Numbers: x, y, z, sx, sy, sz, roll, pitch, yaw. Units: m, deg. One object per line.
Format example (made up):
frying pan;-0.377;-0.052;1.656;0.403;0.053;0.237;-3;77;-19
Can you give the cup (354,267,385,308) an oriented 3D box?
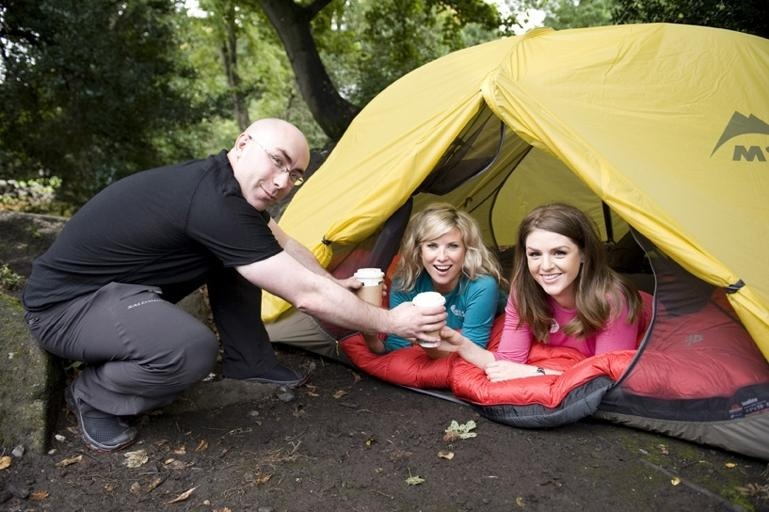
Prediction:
cup;-0.123;0.236;4.870;0.284;0.289;0.267;-5;6;1

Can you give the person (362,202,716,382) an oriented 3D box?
person;1.264;0.250;4.797;1.245;0.923;1.716;0;10;39

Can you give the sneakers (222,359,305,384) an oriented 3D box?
sneakers;-0.929;0.934;5.008;0.660;0.237;0.231;3;3;-7

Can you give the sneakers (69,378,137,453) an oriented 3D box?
sneakers;-1.898;1.116;4.293;0.579;0.240;0.289;40;44;14
